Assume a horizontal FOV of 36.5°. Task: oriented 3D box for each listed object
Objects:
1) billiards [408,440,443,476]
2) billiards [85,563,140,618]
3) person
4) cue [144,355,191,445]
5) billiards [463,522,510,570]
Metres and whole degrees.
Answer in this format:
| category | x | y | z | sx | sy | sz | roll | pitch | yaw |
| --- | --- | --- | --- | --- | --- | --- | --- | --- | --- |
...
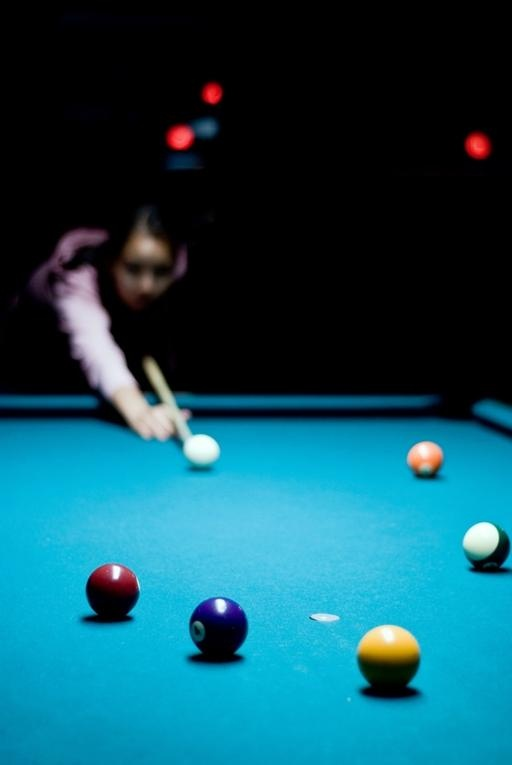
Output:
| category | x | y | z | sx | sy | sz | roll | pitch | yaw |
| --- | --- | --- | --- | --- | --- | --- | --- | --- | --- |
| billiards | 0.704 | 0.315 | 3.241 | 0.140 | 0.112 | 0.138 | -9 | -52 | 12 |
| billiards | -0.298 | 0.430 | 1.591 | 0.103 | 0.102 | 0.088 | 1 | 4 | 11 |
| person | -0.860 | -0.471 | 4.485 | 0.779 | 1.581 | 0.721 | 4 | 8 | 26 |
| cue | -0.468 | 0.087 | 4.171 | 0.149 | 1.277 | 0.154 | -29 | -66 | 2 |
| billiards | 0.578 | 0.404 | 1.975 | 0.115 | 0.121 | 0.110 | -3 | 0 | -21 |
